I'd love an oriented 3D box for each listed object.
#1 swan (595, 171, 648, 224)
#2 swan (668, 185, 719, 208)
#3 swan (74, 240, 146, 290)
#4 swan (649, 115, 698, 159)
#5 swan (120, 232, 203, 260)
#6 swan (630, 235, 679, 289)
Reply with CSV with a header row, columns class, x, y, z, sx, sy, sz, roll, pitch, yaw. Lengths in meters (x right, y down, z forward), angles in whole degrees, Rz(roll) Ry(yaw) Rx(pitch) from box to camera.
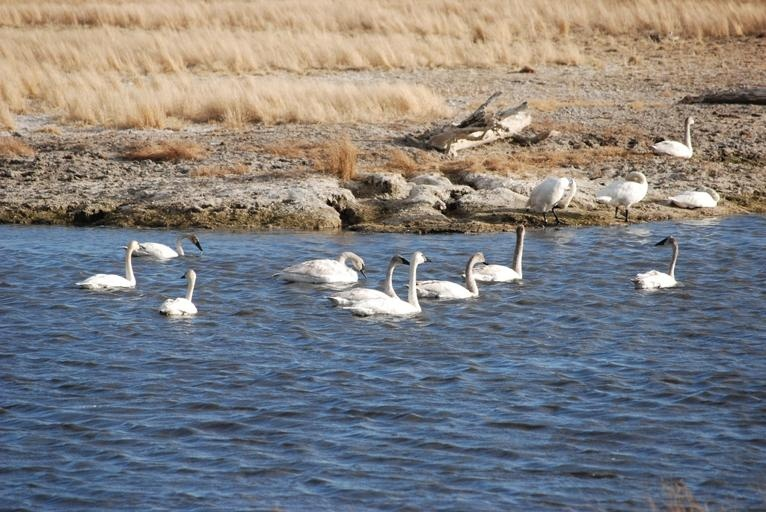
class,x,y,z,sx,sy,sz,roll,pitch,yaw
swan,6.497,-1.538,31.292,1.530,2.371,1.346,4,77,1
swan,8.632,-1.557,31.778,1.394,0.587,0.370,-1,96,-8
swan,-6.206,0.471,25.908,1.303,1.350,1.027,0,67,-5
swan,9.194,-3.542,35.686,2.675,0.874,1.320,-4,109,-24
swan,-5.564,-0.223,27.750,2.138,0.608,0.553,4,101,-15
swan,6.370,0.205,26.992,1.173,2.913,1.100,-5,89,-8
